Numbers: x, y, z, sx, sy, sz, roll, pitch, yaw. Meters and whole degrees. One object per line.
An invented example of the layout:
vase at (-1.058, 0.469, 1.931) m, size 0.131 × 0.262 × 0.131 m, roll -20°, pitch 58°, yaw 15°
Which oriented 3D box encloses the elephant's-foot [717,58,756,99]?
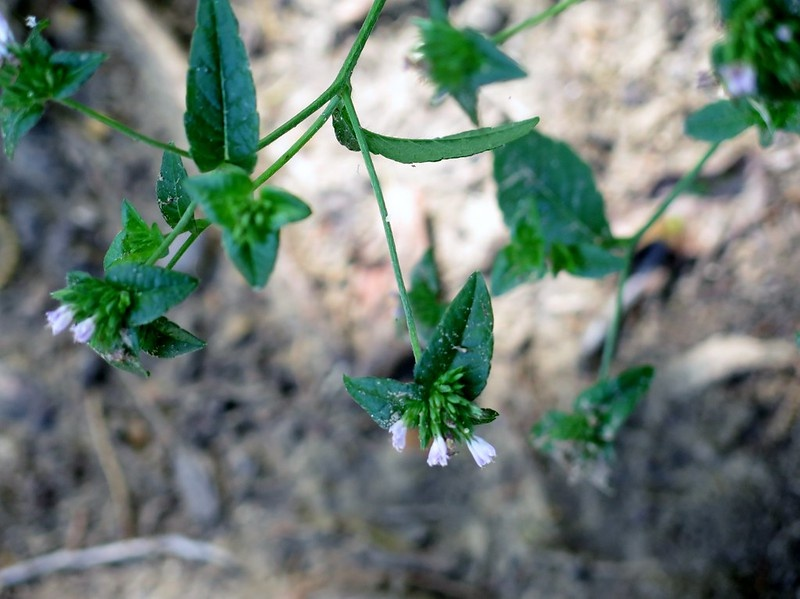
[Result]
elephant's-foot at (0.865, -0.558, 2.174) m, size 0.076 × 0.089 × 0.174 m, roll -7°, pitch 7°, yaw 17°
